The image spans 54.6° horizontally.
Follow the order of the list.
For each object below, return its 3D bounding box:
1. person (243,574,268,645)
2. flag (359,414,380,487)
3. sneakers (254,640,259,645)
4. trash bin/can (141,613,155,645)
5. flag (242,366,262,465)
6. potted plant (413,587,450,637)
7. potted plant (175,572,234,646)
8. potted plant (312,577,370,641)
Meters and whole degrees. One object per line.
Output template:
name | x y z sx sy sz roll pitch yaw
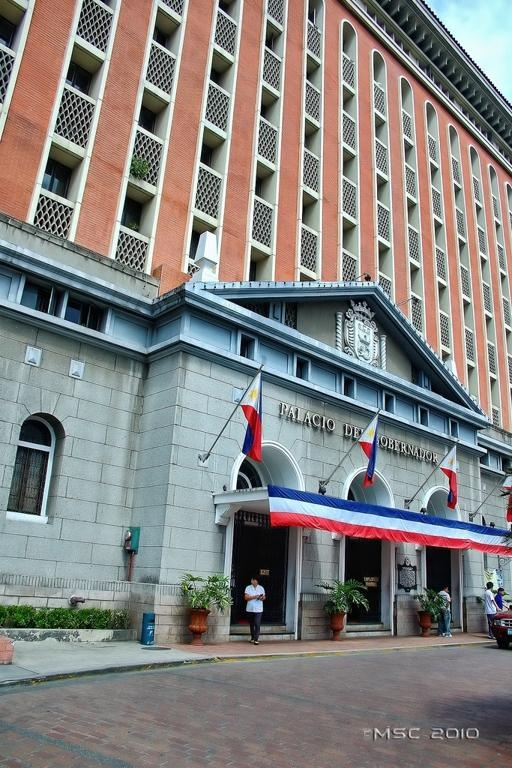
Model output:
person | -0.073 6.543 14.384 0.528 1.736 1.043 3 -18 0
flag | 4.156 2.402 18.258 0.620 3.120 0.316 2 22 5
sneakers | 0.010 7.292 14.021 0.097 0.126 0.275 5 -29 -10
trash bin/can | -2.664 6.031 12.270 0.357 0.700 0.660 7 -19 -10
flag | -0.126 0.917 14.154 0.669 0.198 3.138 0 -58 -6
potted plant | 7.124 9.462 20.271 1.255 1.818 1.257 27 -28 -35
potted plant | -1.376 5.965 13.228 1.372 1.632 1.008 12 -20 -24
potted plant | 2.880 7.666 16.901 1.955 1.913 1.682 17 -29 -16
